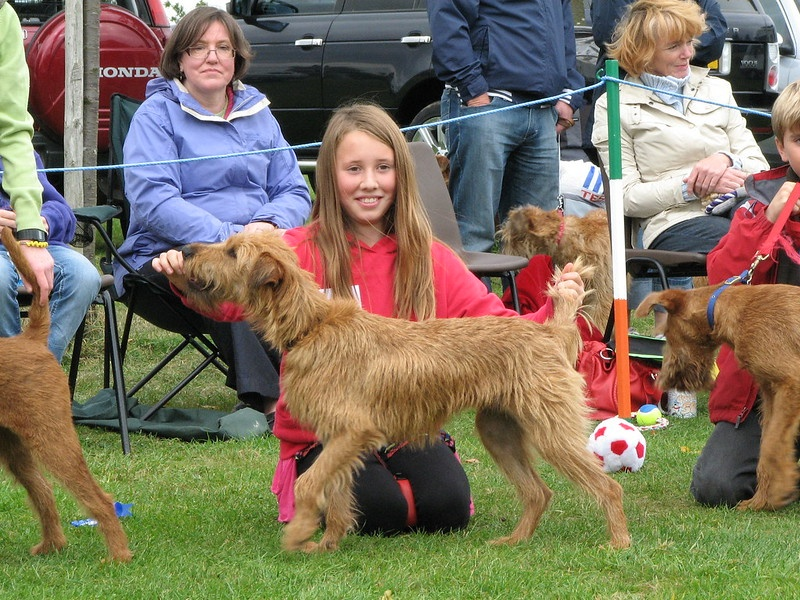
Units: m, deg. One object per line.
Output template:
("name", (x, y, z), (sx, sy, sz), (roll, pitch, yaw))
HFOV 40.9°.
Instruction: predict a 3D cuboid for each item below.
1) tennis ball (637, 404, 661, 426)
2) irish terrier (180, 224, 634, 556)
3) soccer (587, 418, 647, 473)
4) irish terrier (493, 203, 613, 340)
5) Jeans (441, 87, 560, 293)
("tennis ball", (1.640, 0.786, 7.159), (0.138, 0.136, 0.139), (8, -23, 3))
("irish terrier", (0.300, 0.394, 5.364), (1.654, 1.695, 1.867), (13, 18, 29))
("soccer", (1.280, 0.862, 6.415), (0.344, 0.380, 0.316), (-1, 3, 6))
("irish terrier", (1.270, -0.173, 8.274), (0.865, 0.948, 0.816), (-1, 19, -20))
("Jeans", (0.787, -0.988, 8.225), (0.928, 1.312, 0.488), (-7, 17, -28))
